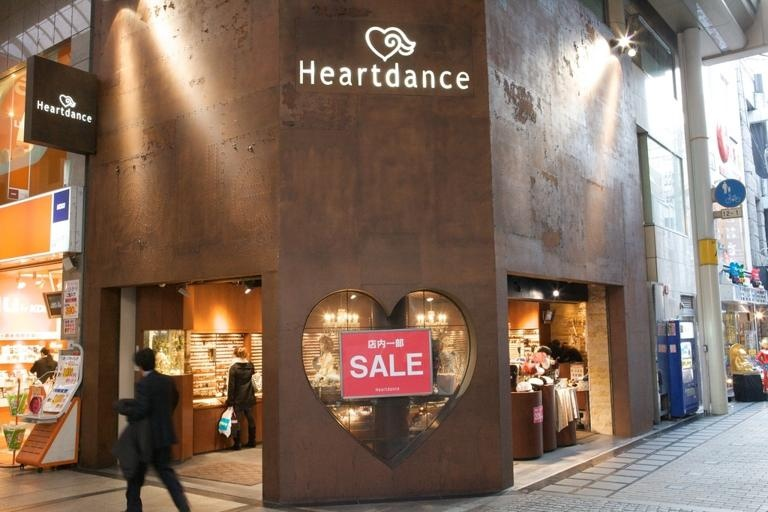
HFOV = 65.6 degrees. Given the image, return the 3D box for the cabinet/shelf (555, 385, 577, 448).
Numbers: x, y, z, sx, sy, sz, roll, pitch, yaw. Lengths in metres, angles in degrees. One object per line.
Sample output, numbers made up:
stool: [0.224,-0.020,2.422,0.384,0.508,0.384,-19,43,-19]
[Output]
cabinet/shelf: [3.769,3.355,12.470,0.631,1.193,0.251,5,-12,-40]

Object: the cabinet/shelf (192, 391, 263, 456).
cabinet/shelf: [-3.332,3.561,12.558,1.553,0.864,0.453,3,-6,-36]

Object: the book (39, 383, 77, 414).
book: [-6.135,2.735,11.284,0.648,0.558,0.281,-7,-10,20]

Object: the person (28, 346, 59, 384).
person: [-7.803,2.502,13.690,0.514,0.815,1.526,3,-12,-31]
